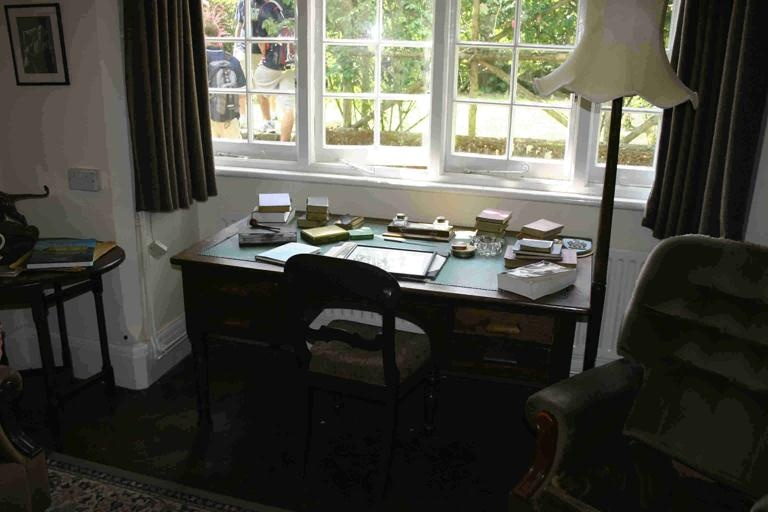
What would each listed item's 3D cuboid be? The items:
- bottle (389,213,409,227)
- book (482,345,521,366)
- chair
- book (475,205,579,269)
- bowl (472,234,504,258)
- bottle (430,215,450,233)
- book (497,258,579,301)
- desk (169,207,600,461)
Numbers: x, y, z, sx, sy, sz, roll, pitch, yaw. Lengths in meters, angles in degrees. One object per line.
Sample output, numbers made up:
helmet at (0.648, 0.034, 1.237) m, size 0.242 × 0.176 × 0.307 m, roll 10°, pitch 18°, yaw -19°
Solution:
bottle at (0.079, -0.197, 3.169) m, size 0.086 × 0.084 × 0.087 m, roll 5°, pitch 32°, yaw 11°
book at (0.549, 0.455, 2.578) m, size 0.158 × 0.088 × 0.032 m, roll 8°, pitch -4°, yaw 4°
chair at (-0.099, 0.565, 2.610) m, size 0.672 × 1.194 × 0.731 m, roll 7°, pitch 39°, yaw 10°
book at (0.704, -0.081, 2.791) m, size 0.393 × 0.105 × 0.294 m, roll 9°, pitch 33°, yaw 24°
bowl at (0.543, -0.061, 2.921) m, size 0.128 × 0.086 × 0.126 m, roll -1°, pitch 9°, yaw 0°
bottle at (0.312, -0.183, 3.076) m, size 0.090 × 0.057 × 0.091 m, roll -2°, pitch 23°, yaw 1°
book at (0.704, 0.068, 2.509) m, size 0.249 × 0.083 × 0.181 m, roll -19°, pitch 24°, yaw -39°
desk at (-0.030, 0.461, 3.057) m, size 1.966 × 0.946 × 0.766 m, roll 6°, pitch 16°, yaw 14°
